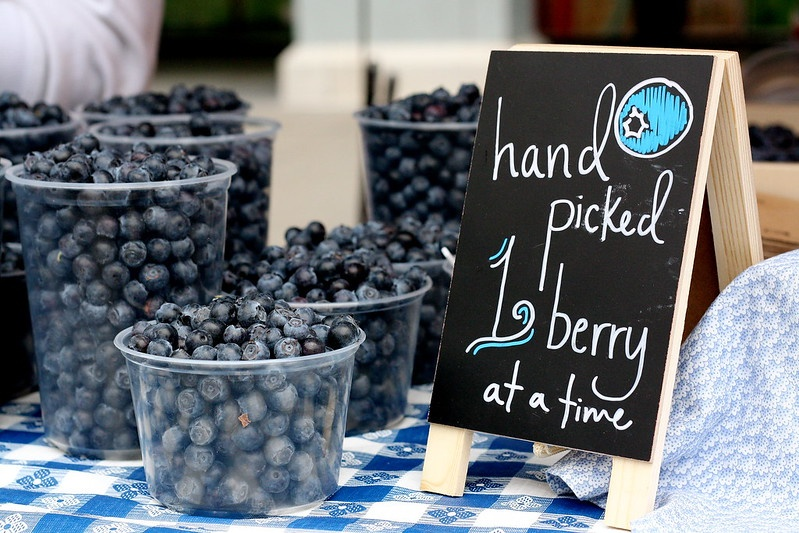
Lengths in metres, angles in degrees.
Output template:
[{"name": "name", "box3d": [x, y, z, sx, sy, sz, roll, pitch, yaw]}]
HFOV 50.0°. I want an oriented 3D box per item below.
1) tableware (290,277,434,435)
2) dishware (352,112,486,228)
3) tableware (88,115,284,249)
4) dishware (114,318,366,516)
[{"name": "tableware", "box3d": [-0.073, 0.179, 1.960, 0.307, 0.254, 0.322, -1, 5, -10]}, {"name": "dishware", "box3d": [0.048, -0.248, 2.195, 0.289, 0.220, 0.281, 5, 8, 6]}, {"name": "tableware", "box3d": [-0.533, -0.272, 2.210, 0.405, 0.311, 0.389, 4, 13, 1]}, {"name": "dishware", "box3d": [-0.301, 0.295, 1.603, 0.366, 0.231, 0.359, -7, 11, -43]}]
